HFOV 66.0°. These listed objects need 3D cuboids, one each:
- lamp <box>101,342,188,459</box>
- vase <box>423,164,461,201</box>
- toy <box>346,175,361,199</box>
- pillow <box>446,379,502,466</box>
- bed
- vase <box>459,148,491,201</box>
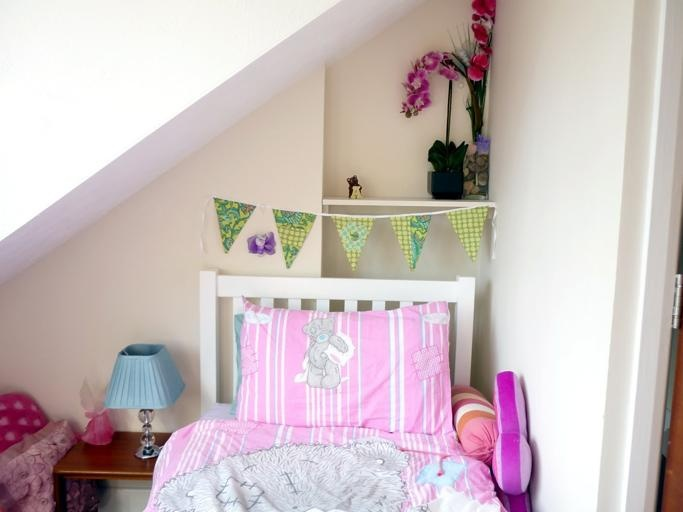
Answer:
[{"bbox_3d":[-0.785,0.610,2.377,0.386,0.623,0.405,2,2,-1],"label":"lamp"},{"bbox_3d":[0.476,-0.321,2.373,0.121,0.121,0.131,-1,-13,4],"label":"vase"},{"bbox_3d":[0.064,-0.318,2.471,0.068,0.102,0.143,1,13,1],"label":"toy"},{"bbox_3d":[0.522,0.646,2.088,0.167,0.211,0.467,3,13,12],"label":"pillow"},{"bbox_3d":[-0.044,0.461,2.110,1.275,0.643,1.042,1,13,2],"label":"bed"},{"bbox_3d":[0.663,-0.429,2.509,0.134,0.280,0.124,-28,29,-33],"label":"vase"}]
